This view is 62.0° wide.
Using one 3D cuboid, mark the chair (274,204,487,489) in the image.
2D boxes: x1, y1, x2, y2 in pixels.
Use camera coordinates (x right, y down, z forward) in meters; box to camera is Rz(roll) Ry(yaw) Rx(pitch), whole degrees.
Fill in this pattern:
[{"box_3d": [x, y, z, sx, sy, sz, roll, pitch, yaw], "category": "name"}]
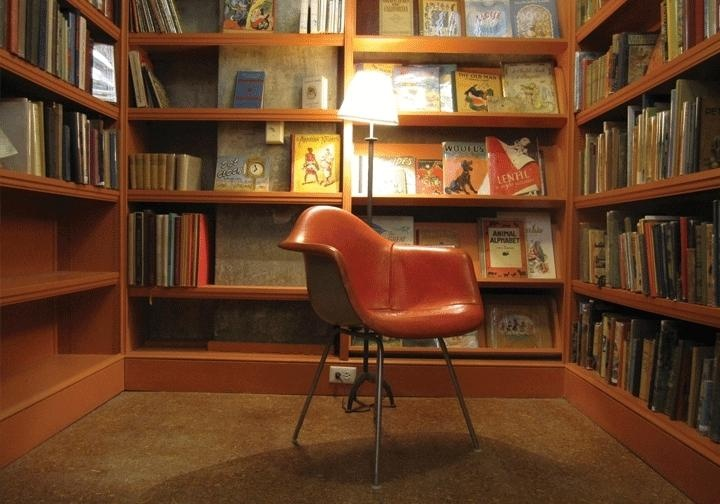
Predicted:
[{"box_3d": [0.087, 0.336, 2.810, 0.961, 1.037, 0.791, -1, 4, -40], "category": "chair"}]
